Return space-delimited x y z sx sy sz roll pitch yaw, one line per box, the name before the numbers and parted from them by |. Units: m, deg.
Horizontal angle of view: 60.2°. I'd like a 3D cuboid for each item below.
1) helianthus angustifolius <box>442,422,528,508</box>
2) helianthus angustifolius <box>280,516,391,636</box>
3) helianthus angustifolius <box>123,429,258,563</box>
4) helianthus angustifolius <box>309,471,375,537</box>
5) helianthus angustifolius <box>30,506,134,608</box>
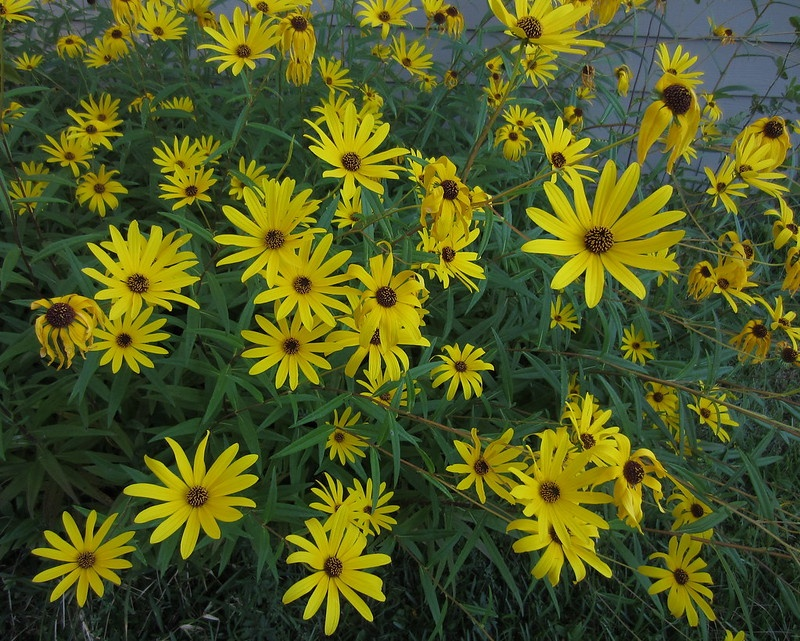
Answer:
helianthus angustifolius | 0.279 0.488 2.367 0.311 0.155 0.344 -16 16 14
helianthus angustifolius | -0.188 0.758 2.125 0.364 0.089 0.375 -4 60 -22
helianthus angustifolius | -0.581 0.513 2.025 0.455 0.176 0.463 4 14 -14
helianthus angustifolius | -0.206 0.607 2.361 0.230 0.057 0.240 -21 10 -28
helianthus angustifolius | -0.960 0.702 2.104 0.280 0.304 0.087 20 10 -10
